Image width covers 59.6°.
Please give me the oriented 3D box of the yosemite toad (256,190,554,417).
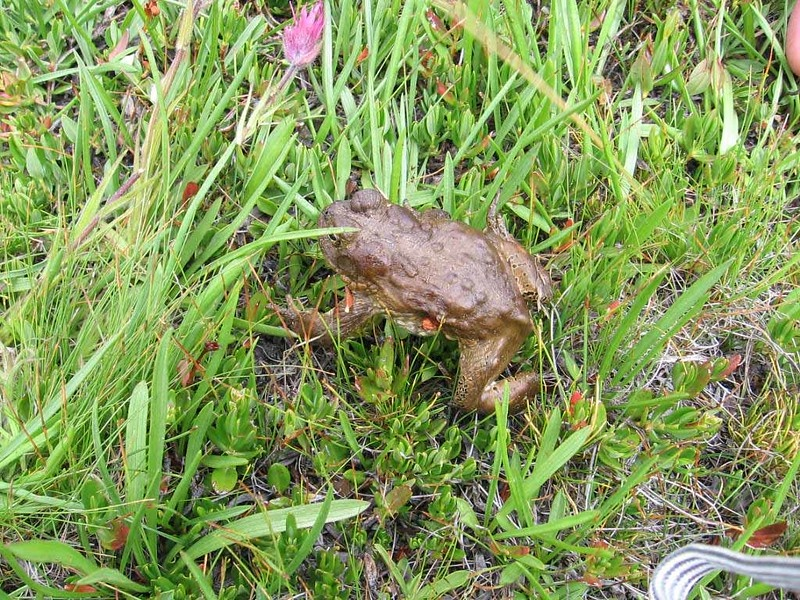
[{"bbox_3d":[0.113,-0.084,2.502,0.903,0.431,0.674,16,60,9],"label":"yosemite toad"}]
